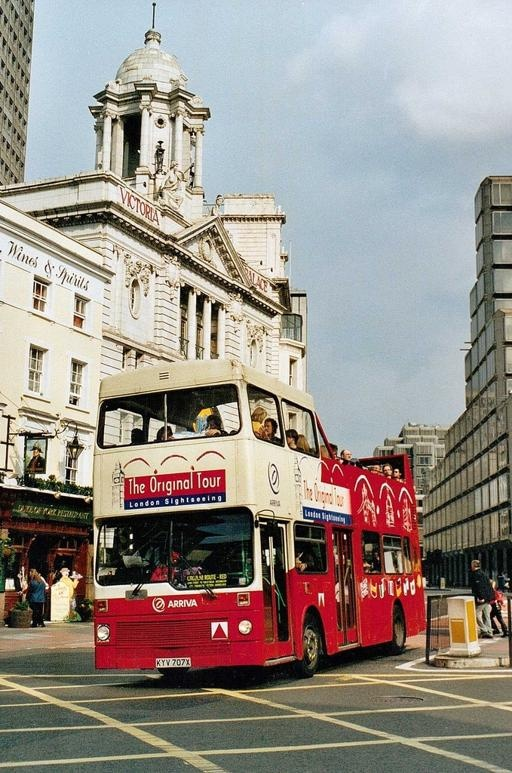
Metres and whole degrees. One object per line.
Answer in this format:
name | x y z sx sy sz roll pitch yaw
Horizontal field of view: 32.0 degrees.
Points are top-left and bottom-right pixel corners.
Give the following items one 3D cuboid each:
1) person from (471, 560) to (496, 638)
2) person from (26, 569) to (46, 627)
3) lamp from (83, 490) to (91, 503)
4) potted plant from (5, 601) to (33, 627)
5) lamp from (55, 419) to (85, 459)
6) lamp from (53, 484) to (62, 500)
person | 5.181 4.824 20.131 0.426 1.657 2.779 -5 -16 14
person | -6.908 6.594 27.780 0.509 1.751 1.305 2 -15 -16
lamp | -6.037 3.930 31.558 0.225 0.395 0.172 4 -5 18
potted plant | -7.260 6.879 27.046 0.640 0.579 0.683 -5 -11 27
lamp | -6.510 1.892 31.538 0.895 1.438 1.496 -3 -15 7
lamp | -6.712 3.561 29.854 0.135 0.443 0.292 1 7 -41
